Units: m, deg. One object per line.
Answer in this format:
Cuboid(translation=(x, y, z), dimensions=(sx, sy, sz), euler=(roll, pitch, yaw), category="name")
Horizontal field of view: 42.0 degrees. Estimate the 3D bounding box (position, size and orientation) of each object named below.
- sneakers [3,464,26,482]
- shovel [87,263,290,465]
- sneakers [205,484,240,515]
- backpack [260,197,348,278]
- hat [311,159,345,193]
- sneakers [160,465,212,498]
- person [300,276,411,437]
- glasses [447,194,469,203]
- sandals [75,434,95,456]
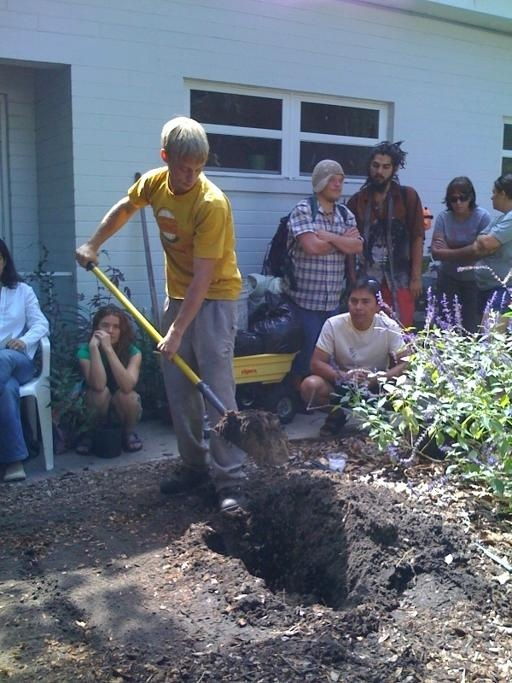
Cuboid(translation=(-1.502, 0.812, 4.135), dimensions=(0.125, 0.097, 0.181), euler=(-9, 10, -21), category="sneakers")
Cuboid(translation=(-0.320, 0.257, 3.572), dimensions=(0.856, 0.814, 0.419), euler=(2, 13, 35), category="shovel")
Cuboid(translation=(-0.164, 0.856, 3.630), dimensions=(0.172, 0.122, 0.202), euler=(5, -13, -37), category="sneakers")
Cuboid(translation=(0.415, -0.889, 5.854), dimensions=(0.877, 0.737, 0.488), euler=(0, 22, -2), category="backpack")
Cuboid(translation=(0.561, -1.331, 5.403), dimensions=(0.220, 0.264, 0.261), euler=(-6, 10, -5), category="hat")
Cuboid(translation=(-0.416, 0.824, 3.905), dimensions=(0.358, 0.200, 0.124), euler=(-2, 21, -10), category="sneakers")
Cuboid(translation=(0.706, 0.122, 4.714), dimensions=(0.829, 1.043, 0.624), euler=(0, 20, -1), category="person")
Cuboid(translation=(1.665, -1.176, 5.531), dimensions=(0.143, 0.071, 0.074), euler=(2, 12, 37), category="glasses")
Cuboid(translation=(-1.178, 0.756, 4.752), dimensions=(0.146, 0.140, 0.048), euler=(15, -26, 40), category="sandals")
